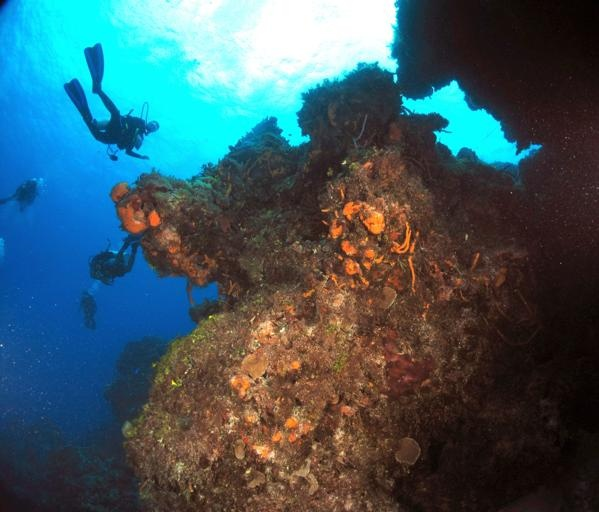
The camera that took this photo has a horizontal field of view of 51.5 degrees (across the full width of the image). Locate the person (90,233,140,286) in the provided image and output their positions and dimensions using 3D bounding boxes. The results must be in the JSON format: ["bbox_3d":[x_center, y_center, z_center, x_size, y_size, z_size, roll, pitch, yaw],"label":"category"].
[{"bbox_3d":[-5.467,0.132,18.467,1.406,0.979,0.698,-38,-8,26],"label":"person"}]
